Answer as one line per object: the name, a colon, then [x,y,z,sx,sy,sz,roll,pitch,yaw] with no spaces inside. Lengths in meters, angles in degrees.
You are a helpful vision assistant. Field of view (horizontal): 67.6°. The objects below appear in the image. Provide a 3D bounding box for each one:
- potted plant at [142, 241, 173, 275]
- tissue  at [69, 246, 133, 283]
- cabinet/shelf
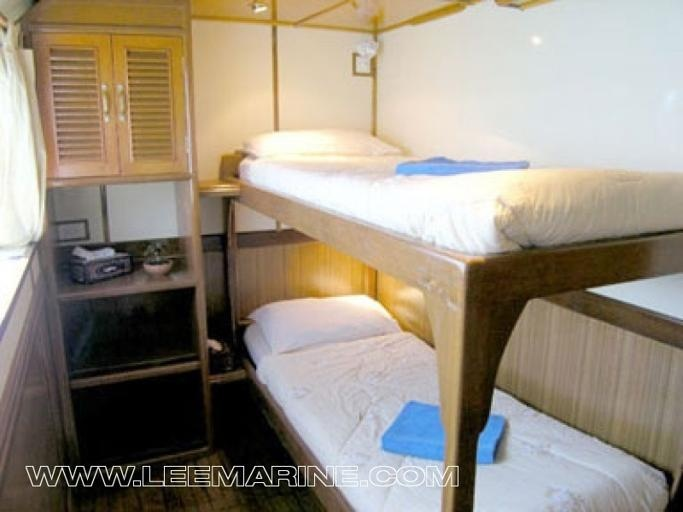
potted plant: [-1.318,0.012,3.685,0.221,0.218,0.212,-3,17,-34]
tissue : [-1.696,0.038,3.593,0.242,0.231,0.350,14,20,38]
cabinet/shelf: [-1.531,-0.102,3.580,1.125,3.031,0.719,-6,11,-24]
